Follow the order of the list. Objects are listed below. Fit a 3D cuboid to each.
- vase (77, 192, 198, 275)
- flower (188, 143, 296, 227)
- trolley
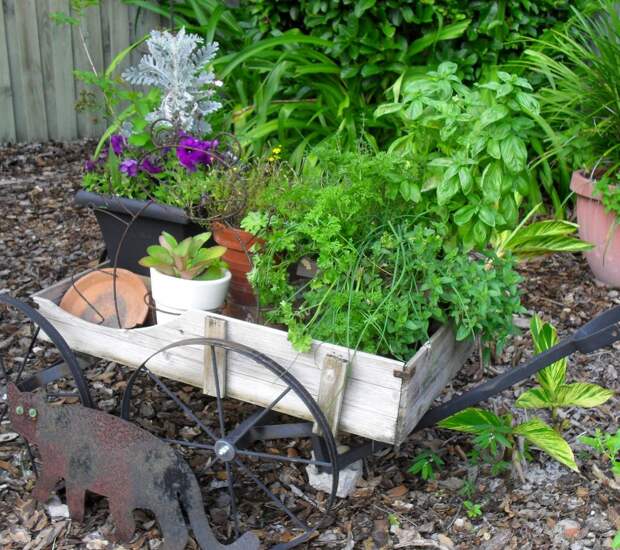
[{"bbox_3d":[-0.608,-0.186,2.272,0.365,0.223,0.354,10,9,4],"label":"vase"},{"bbox_3d":[-0.251,-0.345,2.204,0.343,0.304,0.682,-1,27,-5],"label":"flower"},{"bbox_3d":[-0.049,0.363,1.859,1.581,0.442,0.805,3,10,12],"label":"trolley"}]
